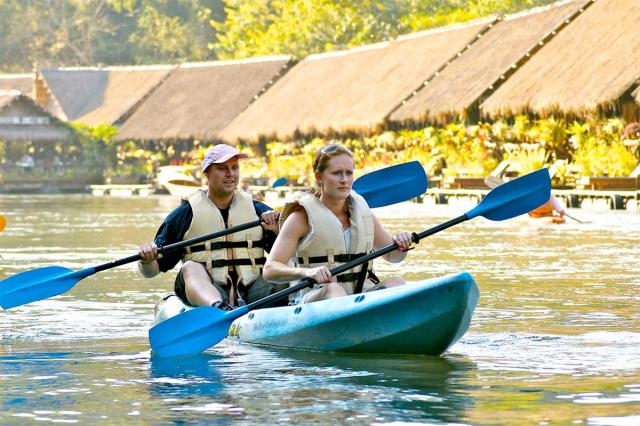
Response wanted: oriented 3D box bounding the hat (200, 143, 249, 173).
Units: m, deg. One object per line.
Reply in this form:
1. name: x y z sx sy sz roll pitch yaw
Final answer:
1. hat: -0.981 -0.581 12.909 0.397 0.173 0.282 -22 -3 29
